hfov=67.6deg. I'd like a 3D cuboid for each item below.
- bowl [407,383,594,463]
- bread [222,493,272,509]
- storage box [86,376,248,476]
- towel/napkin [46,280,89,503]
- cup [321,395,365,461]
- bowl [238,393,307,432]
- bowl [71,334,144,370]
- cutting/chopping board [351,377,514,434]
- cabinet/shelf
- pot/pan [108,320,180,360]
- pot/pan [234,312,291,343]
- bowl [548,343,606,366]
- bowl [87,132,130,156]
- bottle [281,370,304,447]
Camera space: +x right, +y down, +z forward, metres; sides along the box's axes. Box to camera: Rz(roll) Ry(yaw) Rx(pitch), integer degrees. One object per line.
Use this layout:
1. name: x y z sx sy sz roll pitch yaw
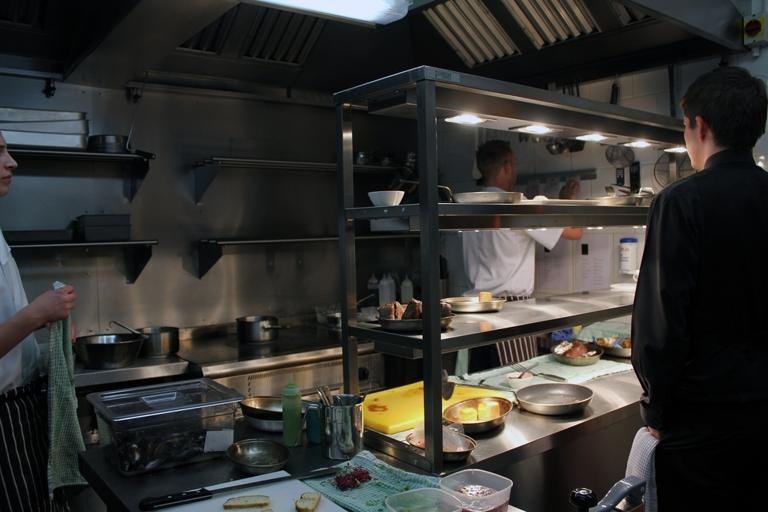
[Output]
1. bowl: 0.665 0.786 2.897 0.769 0.097 0.423 -2 -3 -9
2. bread: -0.528 0.949 2.232 0.126 0.018 0.064 1 3 -1
3. storage box: -0.964 0.728 2.538 0.509 0.217 0.380 -2 5 -31
4. towel/napkin: -1.605 0.740 2.861 0.164 1.029 0.170 -4 2 -28
5. cup: -0.175 0.770 2.576 0.243 0.259 0.256 0 1 0
6. bowl: -0.580 0.764 2.828 0.239 0.073 0.233 2 -4 0
7. bowl: -1.772 0.611 3.817 0.337 0.116 0.332 9 0 0
8. cutting/chopping board: 0.160 0.753 2.957 0.323 0.053 0.568 4 6 44
9. cabinet/shelf: 1.077 -0.012 3.556 2.846 1.739 0.567 -4 5 -40
10. pot/pan: -1.741 0.628 4.212 0.539 0.207 0.227 -5 -4 40
11. pot/pan: -0.970 0.559 4.472 0.329 0.113 0.197 1 2 30
12. bowl: 1.204 0.603 3.553 0.189 0.043 0.183 -2 5 0
13. bowl: -1.945 -0.771 4.025 0.191 0.065 0.177 0 2 0
14. bottle: -0.406 0.727 2.694 0.087 0.229 0.148 -3 2 21
